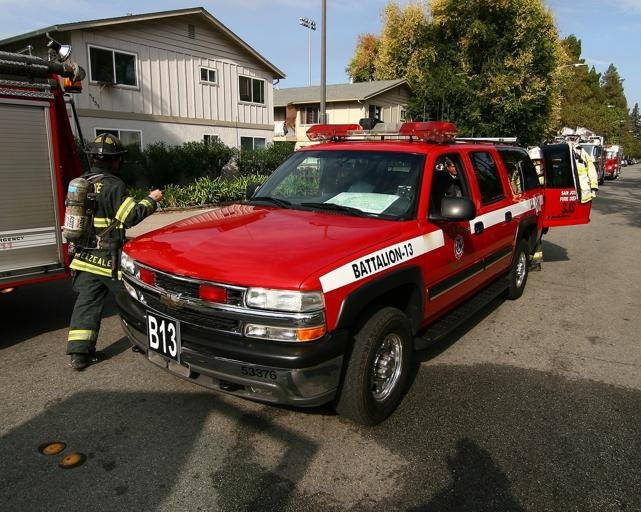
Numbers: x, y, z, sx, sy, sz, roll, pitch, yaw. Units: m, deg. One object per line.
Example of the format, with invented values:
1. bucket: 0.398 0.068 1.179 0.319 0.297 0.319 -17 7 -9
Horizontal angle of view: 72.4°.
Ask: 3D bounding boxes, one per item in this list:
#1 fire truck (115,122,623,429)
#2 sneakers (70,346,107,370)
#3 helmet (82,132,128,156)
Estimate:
1. fire truck: 0.817 -0.106 4.852 2.138 1.943 5.202 4 12 40
2. sneakers: -2.263 0.977 4.341 0.148 0.155 0.350 7 16 26
3. helmet: -2.167 -1.101 4.504 0.438 0.228 0.563 0 16 -13
